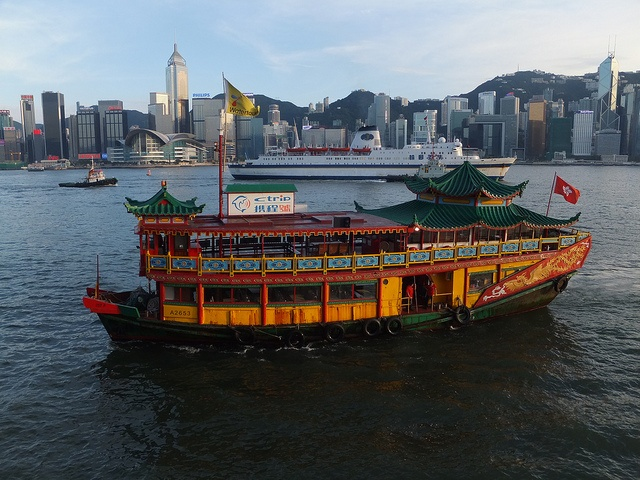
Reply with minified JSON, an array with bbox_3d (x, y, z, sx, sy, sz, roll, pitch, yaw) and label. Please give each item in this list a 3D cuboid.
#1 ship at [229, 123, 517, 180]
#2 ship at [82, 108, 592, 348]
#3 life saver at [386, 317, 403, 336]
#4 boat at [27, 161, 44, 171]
[{"bbox_3d":[8.714,-16.486,169.137,60.860,10.322,9.980,2,-8,24],"label":"ship"},{"bbox_3d":[2.599,1.233,55.130,36.399,8.953,9.669,-3,7,-25],"label":"ship"},{"bbox_3d":[4.654,5.356,51.128,1.179,1.115,0.242,-5,9,-27],"label":"life saver"},{"bbox_3d":[-102.422,-26.301,296.917,4.700,2.326,65.799,-4,7,-18],"label":"boat"}]
